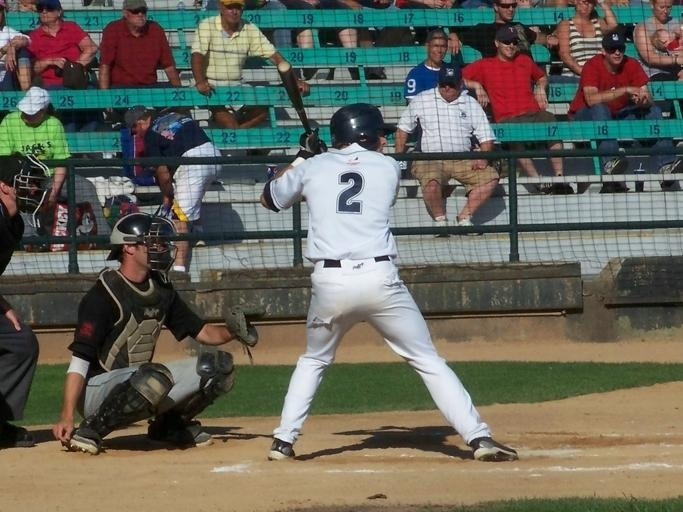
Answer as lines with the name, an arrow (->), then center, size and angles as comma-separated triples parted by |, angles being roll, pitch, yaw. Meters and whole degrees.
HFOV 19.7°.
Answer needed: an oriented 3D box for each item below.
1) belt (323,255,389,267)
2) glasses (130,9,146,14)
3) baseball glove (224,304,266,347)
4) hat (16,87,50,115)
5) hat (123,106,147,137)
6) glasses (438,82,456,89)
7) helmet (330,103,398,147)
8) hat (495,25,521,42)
belt -> 0.131, 0.061, 19.082 | 0.645, 0.099, 0.064 | -2, 5, 0
glasses -> -2.548, -3.067, 24.660 | 0.129, 0.069, 0.245 | 2, 6, 36
baseball glove -> -1.021, 0.700, 20.186 | 0.519, 0.534, 0.126 | 3, 11, 2
hat -> -3.801, -1.888, 24.092 | 0.378, 0.341, 0.271 | -2, 5, -10
hat -> -2.516, -1.627, 23.910 | 0.329, 0.310, 0.502 | 1, 14, -13
glasses -> 1.282, -2.090, 24.074 | 0.195, 0.070, 0.042 | -1, 5, 1
helmet -> 0.203, -1.277, 19.374 | 0.557, 0.386, 0.383 | 0, 2, -21
hat -> 2.080, -2.798, 24.892 | 0.288, 0.231, 0.204 | -2, 5, -1
